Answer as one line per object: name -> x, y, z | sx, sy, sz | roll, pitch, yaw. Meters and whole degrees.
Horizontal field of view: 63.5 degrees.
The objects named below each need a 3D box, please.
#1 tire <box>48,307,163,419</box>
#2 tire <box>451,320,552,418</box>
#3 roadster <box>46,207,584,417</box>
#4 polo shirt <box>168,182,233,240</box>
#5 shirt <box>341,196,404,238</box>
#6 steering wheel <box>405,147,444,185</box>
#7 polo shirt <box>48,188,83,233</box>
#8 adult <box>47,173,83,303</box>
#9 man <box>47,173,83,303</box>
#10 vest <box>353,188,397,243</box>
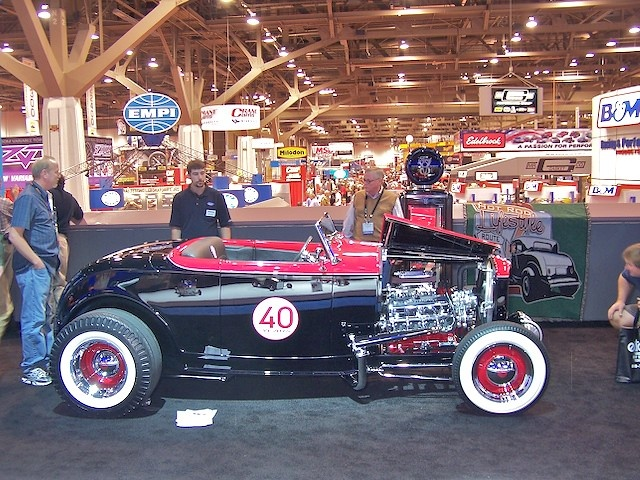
tire -> -1.742, 1.008, 4.274 | 0.718, 0.765, 0.247 | -11, 6, 17
tire -> 1.467, 1.065, 4.222 | 0.704, 0.754, 0.237 | 1, 7, -1
roadster -> -0.202, 0.568, 4.812 | 3.553, 1.441, 1.920 | 0, 5, 2
polo shirt -> -1.318, -0.320, 5.794 | 0.679, 0.626, 0.362 | 0, 10, -12
shirt -> 0.558, -0.238, 5.285 | 0.429, 0.384, 0.148 | 2, 11, 20
steering wheel -> 1.233, -0.882, 6.033 | 0.488, 0.524, 0.208 | 2, 20, 18
polo shirt -> -2.819, -0.359, 5.755 | 0.306, 0.435, 0.183 | -21, 21, 3
adult -> -2.819, -0.050, 5.822 | 0.411, 1.517, 0.527 | -6, 16, -22
man -> -2.782, -0.044, 5.833 | 0.368, 1.389, 0.460 | -1, 10, -7
vest -> 0.608, -0.258, 5.663 | 0.504, 0.652, 0.351 | 2, -6, 28
